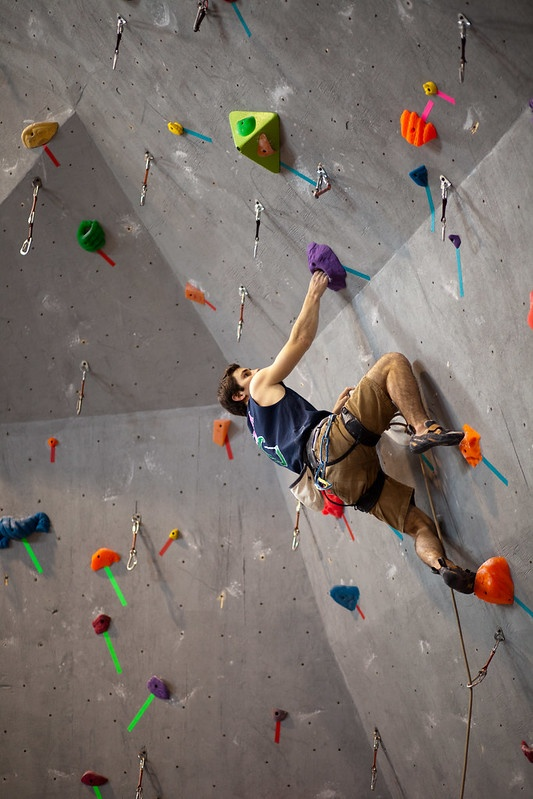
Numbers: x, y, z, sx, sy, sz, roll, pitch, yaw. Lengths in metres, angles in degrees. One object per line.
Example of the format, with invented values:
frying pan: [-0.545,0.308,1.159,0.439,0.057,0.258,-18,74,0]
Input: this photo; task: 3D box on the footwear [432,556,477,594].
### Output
footwear: [0.564,0.519,2.186,0.185,0.063,0.082,47,-4,-37]

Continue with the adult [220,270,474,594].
adult: [0.303,0.030,2.609,1.017,0.796,0.625,21,42,26]

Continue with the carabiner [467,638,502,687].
carabiner: [0.693,0.821,2.374,0.050,0.210,0.059,7,29,-30]

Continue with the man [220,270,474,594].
man: [0.313,0.056,2.616,1.011,0.792,0.605,21,42,28]

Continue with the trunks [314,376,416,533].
trunks: [0.343,0.182,2.517,0.283,0.377,0.391,-25,38,-36]

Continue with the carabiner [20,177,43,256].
carabiner: [-1.038,-0.794,3.288,0.048,0.347,0.114,6,28,-34]
